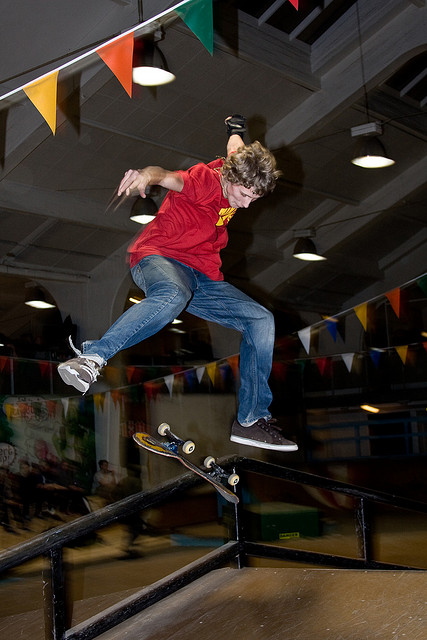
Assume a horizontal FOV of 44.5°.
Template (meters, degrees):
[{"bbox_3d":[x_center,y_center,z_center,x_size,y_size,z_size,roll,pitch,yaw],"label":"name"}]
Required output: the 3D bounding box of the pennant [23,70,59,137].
[{"bbox_3d":[-0.840,-1.113,2.610,0.167,0.355,0.282,-5,9,-24],"label":"pennant"}]

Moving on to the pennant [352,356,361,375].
[{"bbox_3d":[3.701,1.167,13.542,0.137,0.467,0.055,-5,-52,11],"label":"pennant"}]

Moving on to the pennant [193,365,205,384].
[{"bbox_3d":[-0.340,1.192,11.508,0.009,0.283,0.523,33,-34,30],"label":"pennant"}]

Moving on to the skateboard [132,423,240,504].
[{"bbox_3d":[-0.236,0.617,2.645,0.870,0.210,0.122,30,-24,44],"label":"skateboard"}]

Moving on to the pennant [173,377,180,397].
[{"bbox_3d":[-0.795,1.378,10.995,0.073,0.371,0.007,-5,-22,-5],"label":"pennant"}]

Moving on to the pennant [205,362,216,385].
[{"bbox_3d":[-0.079,1.192,11.658,0.188,0.453,0.007,-4,15,-5],"label":"pennant"}]

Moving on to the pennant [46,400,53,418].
[{"bbox_3d":[-2.702,1.458,8.581,0.099,0.273,0.018,3,-29,-16],"label":"pennant"}]

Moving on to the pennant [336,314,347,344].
[{"bbox_3d":[3.293,0.219,13.443,0.175,0.774,0.450,-4,7,-30],"label":"pennant"}]

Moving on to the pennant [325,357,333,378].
[{"bbox_3d":[3.027,1.208,13.638,0.174,0.570,0.072,3,-49,8],"label":"pennant"}]

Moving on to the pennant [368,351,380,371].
[{"bbox_3d":[4.024,0.996,13.075,0.178,0.445,0.572,-4,-8,8],"label":"pennant"}]

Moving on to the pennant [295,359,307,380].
[{"bbox_3d":[2.156,1.213,12.945,0.189,0.503,0.494,-6,-9,23],"label":"pennant"}]

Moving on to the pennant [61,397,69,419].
[{"bbox_3d":[-2.488,1.468,8.818,0.115,0.313,0.082,3,-10,-34],"label":"pennant"}]

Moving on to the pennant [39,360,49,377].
[{"bbox_3d":[-2.872,0.776,8.844,0.151,0.196,0.050,2,-11,-37],"label":"pennant"}]

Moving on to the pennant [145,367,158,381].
[{"bbox_3d":[-1.256,1.070,10.676,0.112,0.201,0.291,-14,-8,32],"label":"pennant"}]

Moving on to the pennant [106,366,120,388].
[{"bbox_3d":[-1.957,1.111,10.082,0.324,0.590,0.066,20,-41,-37],"label":"pennant"}]

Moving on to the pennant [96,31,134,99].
[{"bbox_3d":[-0.497,-1.245,2.616,0.174,0.344,0.234,-1,-9,-12],"label":"pennant"}]

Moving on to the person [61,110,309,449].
[{"bbox_3d":[-0.113,-0.103,2.465,1.198,1.490,0.710,5,-12,-44],"label":"person"}]

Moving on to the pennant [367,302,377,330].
[{"bbox_3d":[4.344,-0.134,14.281,0.286,0.769,1.261,-5,-8,16],"label":"pennant"}]

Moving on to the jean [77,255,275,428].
[{"bbox_3d":[-0.152,0.116,2.555,1.064,0.863,0.409,4,-11,-38],"label":"jean"}]

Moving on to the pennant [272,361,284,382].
[{"bbox_3d":[1.532,1.207,12.366,0.350,0.456,0.126,5,-11,-40],"label":"pennant"}]
